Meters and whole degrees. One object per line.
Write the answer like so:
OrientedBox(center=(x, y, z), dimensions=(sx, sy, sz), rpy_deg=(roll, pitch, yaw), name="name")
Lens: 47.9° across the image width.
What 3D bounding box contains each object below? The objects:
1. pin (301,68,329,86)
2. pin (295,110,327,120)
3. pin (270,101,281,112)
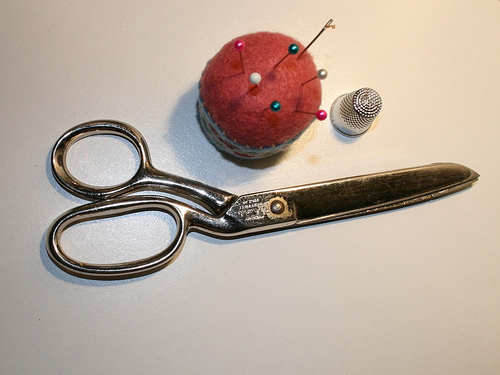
OrientedBox(center=(0.127, -0.214, 1.127), dimensions=(0.060, 0.025, 0.026), rpy_deg=(-17, -66, 7), name="pin")
OrientedBox(center=(0.121, -0.138, 1.112), dimensions=(0.071, 0.022, 0.024), rpy_deg=(4, -92, -7), name="pin")
OrientedBox(center=(0.049, -0.155, 1.073), dimensions=(0.021, 0.010, 0.020), rpy_deg=(32, -85, -3), name="pin")
